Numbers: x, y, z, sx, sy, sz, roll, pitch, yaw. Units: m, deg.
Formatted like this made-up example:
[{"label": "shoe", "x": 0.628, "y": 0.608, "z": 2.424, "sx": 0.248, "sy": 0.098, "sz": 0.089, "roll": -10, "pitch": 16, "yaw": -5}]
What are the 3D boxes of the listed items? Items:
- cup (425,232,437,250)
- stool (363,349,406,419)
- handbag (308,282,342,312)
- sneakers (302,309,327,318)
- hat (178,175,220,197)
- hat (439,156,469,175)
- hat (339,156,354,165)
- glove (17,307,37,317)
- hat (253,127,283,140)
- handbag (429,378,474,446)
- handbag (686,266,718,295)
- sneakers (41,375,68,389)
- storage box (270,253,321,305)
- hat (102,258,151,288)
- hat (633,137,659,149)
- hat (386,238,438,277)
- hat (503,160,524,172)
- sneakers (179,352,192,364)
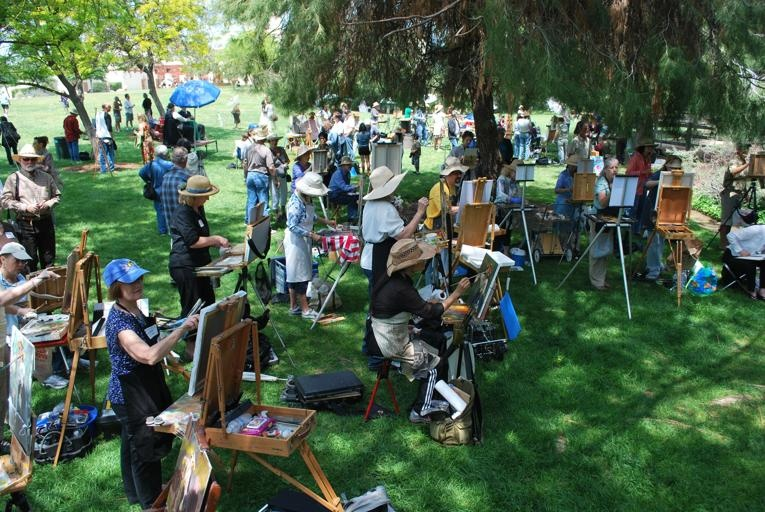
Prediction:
[{"label": "cup", "x": 0.855, "y": -0.276, "z": 10.463, "sx": 0.198, "sy": 0.230, "sz": 0.246, "roll": -1, "pitch": -6, "yaw": -2}, {"label": "stool", "x": 0.014, "y": 1.836, "z": 8.463, "sx": 0.466, "sy": 0.908, "sz": 0.498, "roll": 4, "pitch": 6, "yaw": 15}, {"label": "handbag", "x": -1.122, "y": 0.687, "z": 11.174, "sx": 0.296, "sy": 0.537, "sz": 0.541, "roll": 33, "pitch": 62, "yaw": 26}, {"label": "sneakers", "x": -1.205, "y": 1.057, "z": 10.632, "sx": 0.417, "sy": 0.220, "sz": 0.162, "roll": 0, "pitch": 11, "yaw": -2}, {"label": "hat", "x": -2.856, "y": -1.068, "z": 9.133, "sx": 0.427, "sy": 0.194, "sz": 0.458, "roll": -11, "pitch": 20, "yaw": -36}, {"label": "hat", "x": 1.304, "y": -1.668, "z": 11.163, "sx": 0.485, "sy": 0.236, "sz": 0.552, "roll": -9, "pitch": 14, "yaw": -3}, {"label": "hat", "x": -0.907, "y": -2.423, "z": 15.049, "sx": 0.379, "sy": 0.255, "sz": 0.437, "roll": -1, "pitch": -4, "yaw": 0}, {"label": "glove", "x": -4.967, "y": 0.810, "z": 8.432, "sx": 0.112, "sy": 0.064, "sz": 0.157, "roll": 18, "pitch": 18, "yaw": 2}, {"label": "hat", "x": -3.057, "y": -3.109, "z": 15.343, "sx": 0.602, "sy": 0.247, "sz": 0.709, "roll": -2, "pitch": 20, "yaw": -18}, {"label": "handbag", "x": 1.052, "y": 2.173, "z": 8.349, "sx": 0.468, "sy": 0.863, "sz": 0.703, "roll": -1, "pitch": -2, "yaw": 2}, {"label": "handbag", "x": 6.318, "y": 0.549, "z": 11.894, "sx": 0.462, "sy": 0.569, "sz": 0.216, "roll": 34, "pitch": 5, "yaw": 19}, {"label": "sneakers", "x": -4.827, "y": 1.880, "z": 8.898, "sx": 0.396, "sy": 0.204, "sz": 0.194, "roll": 0, "pitch": 11, "yaw": -13}, {"label": "storage box", "x": -1.683, "y": 0.431, "z": 11.548, "sx": 0.778, "sy": 0.782, "sz": 0.937, "roll": -3, "pitch": 5, "yaw": -35}, {"label": "hat", "x": -3.008, "y": 0.206, "z": 6.979, "sx": 0.412, "sy": 0.269, "sz": 0.324, "roll": -24, "pitch": 4, "yaw": 8}, {"label": "hat", "x": 5.743, "y": -2.475, "z": 13.106, "sx": 0.441, "sy": 0.171, "sz": 0.485, "roll": 1, "pitch": -6, "yaw": 14}, {"label": "hat", "x": 0.404, "y": 0.043, "z": 8.202, "sx": 0.560, "sy": 0.250, "sz": 0.474, "roll": -28, "pitch": 20, "yaw": 4}, {"label": "hat", "x": 2.800, "y": -1.943, "z": 12.720, "sx": 0.299, "sy": 0.151, "sz": 0.368, "roll": 1, "pitch": 14, "yaw": -14}, {"label": "sneakers", "x": -3.056, "y": 1.605, "z": 9.337, "sx": 0.191, "sy": 0.211, "sz": 0.203, "roll": 2, "pitch": 2, "yaw": -13}]
